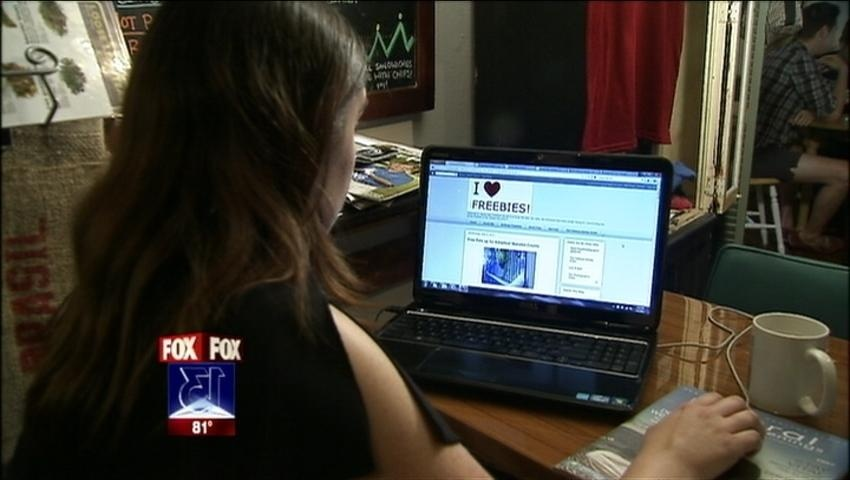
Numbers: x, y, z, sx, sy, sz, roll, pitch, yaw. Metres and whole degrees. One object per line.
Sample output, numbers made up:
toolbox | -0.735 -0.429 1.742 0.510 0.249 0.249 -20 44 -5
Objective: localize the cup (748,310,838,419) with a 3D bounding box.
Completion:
cup | 0.589 0.211 0.945 0.112 0.132 0.170 -4 12 2

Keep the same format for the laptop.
laptop | 0.140 0.044 1.048 0.566 0.306 0.450 1 20 14

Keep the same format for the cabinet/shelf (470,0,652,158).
cabinet/shelf | 0.111 -0.179 0.640 0.200 0.132 0.174 6 24 5

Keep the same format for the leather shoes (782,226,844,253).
leather shoes | 0.775 0.001 1.206 0.156 0.055 0.054 0 16 12
